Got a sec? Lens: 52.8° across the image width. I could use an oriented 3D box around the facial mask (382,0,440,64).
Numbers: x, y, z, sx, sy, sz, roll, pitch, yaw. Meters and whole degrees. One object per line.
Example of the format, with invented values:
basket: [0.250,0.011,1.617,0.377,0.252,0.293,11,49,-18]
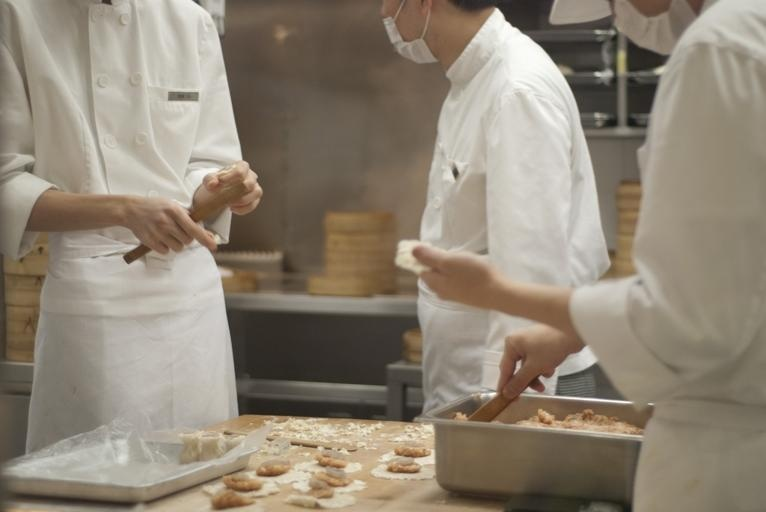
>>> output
facial mask: [0.096,-0.695,2.425,0.123,0.158,0.142,24,18,3]
